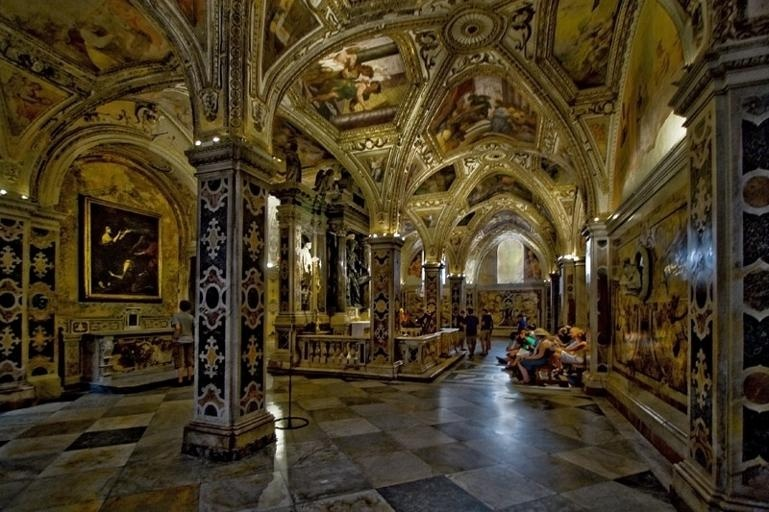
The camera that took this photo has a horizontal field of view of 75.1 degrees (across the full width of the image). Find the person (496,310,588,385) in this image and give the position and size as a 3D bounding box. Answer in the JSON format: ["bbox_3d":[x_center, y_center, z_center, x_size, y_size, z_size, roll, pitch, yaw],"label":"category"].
[{"bbox_3d":[3.595,2.122,11.290,1.699,0.698,1.349,-4,-6,27],"label":"person"}]

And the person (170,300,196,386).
[{"bbox_3d":[-4.179,1.793,10.349,0.370,1.783,0.862,-1,3,-23],"label":"person"}]

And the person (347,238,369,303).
[{"bbox_3d":[-0.867,0.527,16.594,0.353,2.448,1.365,1,3,21],"label":"person"}]

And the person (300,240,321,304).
[{"bbox_3d":[-1.971,0.487,14.201,0.476,1.821,0.453,16,34,42],"label":"person"}]
